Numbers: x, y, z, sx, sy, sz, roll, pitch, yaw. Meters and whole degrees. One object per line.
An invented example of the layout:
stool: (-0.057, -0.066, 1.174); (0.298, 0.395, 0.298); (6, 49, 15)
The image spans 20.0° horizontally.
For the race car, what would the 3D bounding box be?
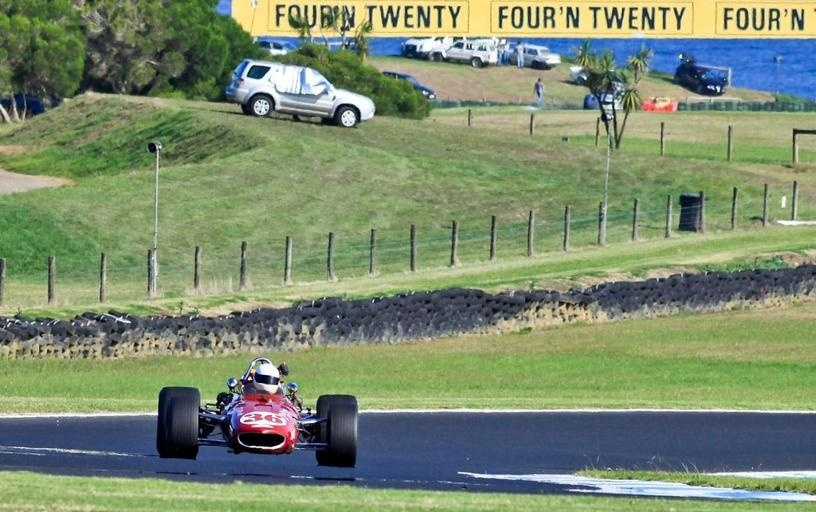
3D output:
race car: (-8.089, 8.773, 127.860); (10.550, 6.056, 1.686); (-1, 6, 0)

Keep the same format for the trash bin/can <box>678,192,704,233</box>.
trash bin/can: (19.482, -2.954, 159.510); (2.088, 2.594, 1.443); (2, 7, 30)
